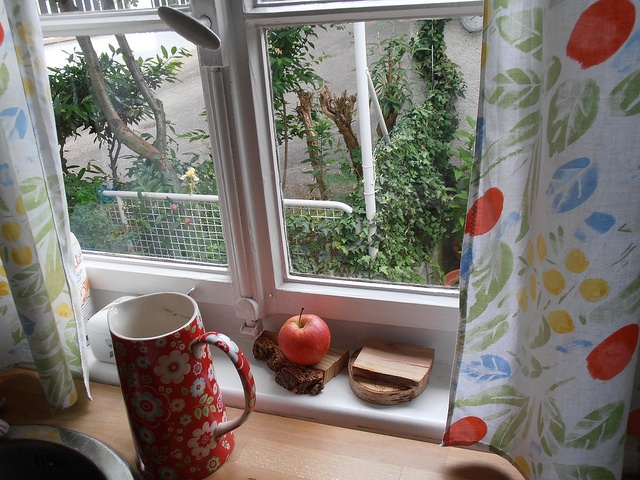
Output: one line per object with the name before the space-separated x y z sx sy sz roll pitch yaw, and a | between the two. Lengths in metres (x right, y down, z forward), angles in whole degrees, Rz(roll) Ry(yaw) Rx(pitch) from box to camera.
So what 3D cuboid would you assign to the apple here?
apple | -0.040 0.209 1.056 0.106 0.136 0.108 -4 30 -8
